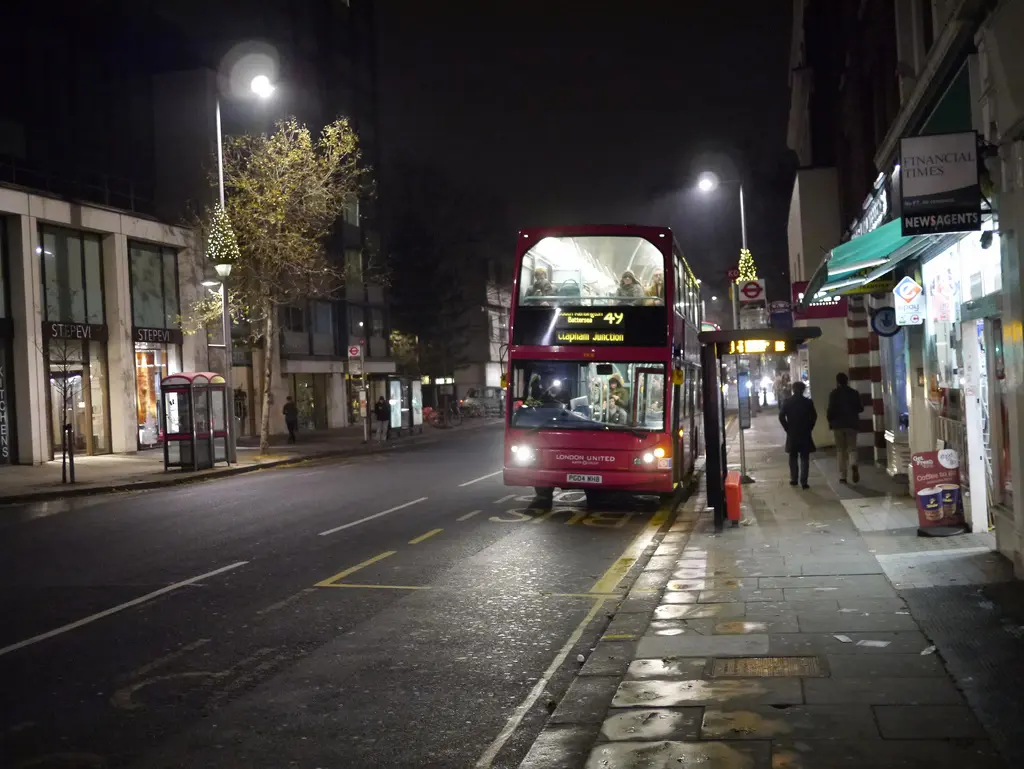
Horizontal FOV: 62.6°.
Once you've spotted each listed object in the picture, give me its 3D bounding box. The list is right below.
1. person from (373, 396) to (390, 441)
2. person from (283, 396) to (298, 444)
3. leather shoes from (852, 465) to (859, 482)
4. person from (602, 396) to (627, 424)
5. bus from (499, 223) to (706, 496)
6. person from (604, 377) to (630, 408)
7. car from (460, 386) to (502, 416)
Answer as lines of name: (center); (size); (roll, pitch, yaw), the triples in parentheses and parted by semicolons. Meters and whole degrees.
person: (-5.858, 1.552, 38.641); (0.569, 1.375, 1.043); (-2, -2, -11)
person: (-9.725, 1.541, 37.022); (0.423, 1.963, 1.034); (-2, -1, -10)
leather shoes: (7.087, 1.828, 17.308); (0.101, 0.324, 0.217); (-3, -6, 3)
person: (1.955, 0.512, 15.517); (0.516, 0.772, 0.398); (0, -3, 15)
bus: (1.424, -0.555, 15.555); (2.281, 3.559, 6.630); (1, 2, 14)
person: (1.955, 0.120, 15.361); (0.482, 0.831, 0.317); (-1, 3, 27)
car: (-2.181, 1.312, 64.388); (2.904, 1.745, 2.056); (-3, -2, -10)
